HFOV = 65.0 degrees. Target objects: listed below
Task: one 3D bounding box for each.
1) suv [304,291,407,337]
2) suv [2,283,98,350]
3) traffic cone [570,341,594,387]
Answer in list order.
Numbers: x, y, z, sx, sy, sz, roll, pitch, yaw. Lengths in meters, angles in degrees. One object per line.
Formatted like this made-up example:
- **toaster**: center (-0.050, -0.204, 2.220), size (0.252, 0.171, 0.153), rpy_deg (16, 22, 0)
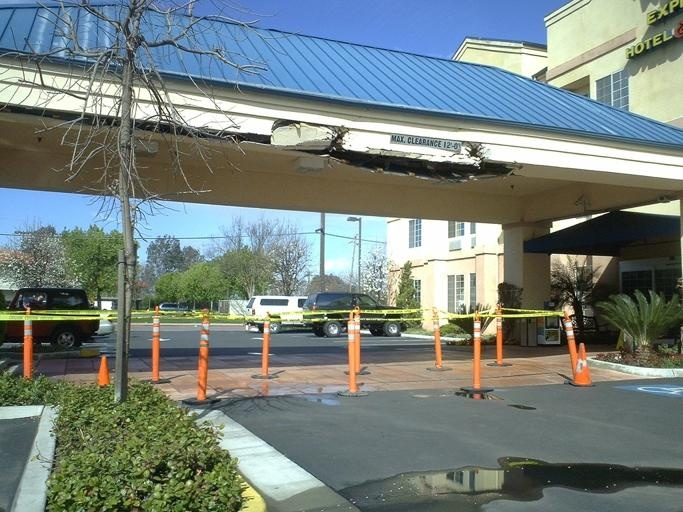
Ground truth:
- **suv**: center (1.073, 2.928, 25.252), size (5.419, 2.084, 2.632), rpy_deg (-2, -1, -19)
- **suv**: center (-8.345, 1.762, 15.622), size (3.844, 1.613, 1.999), rpy_deg (2, -4, -18)
- **traffic cone**: center (4.718, 2.127, 10.571), size (0.352, 0.841, 0.802), rpy_deg (-4, -3, 22)
